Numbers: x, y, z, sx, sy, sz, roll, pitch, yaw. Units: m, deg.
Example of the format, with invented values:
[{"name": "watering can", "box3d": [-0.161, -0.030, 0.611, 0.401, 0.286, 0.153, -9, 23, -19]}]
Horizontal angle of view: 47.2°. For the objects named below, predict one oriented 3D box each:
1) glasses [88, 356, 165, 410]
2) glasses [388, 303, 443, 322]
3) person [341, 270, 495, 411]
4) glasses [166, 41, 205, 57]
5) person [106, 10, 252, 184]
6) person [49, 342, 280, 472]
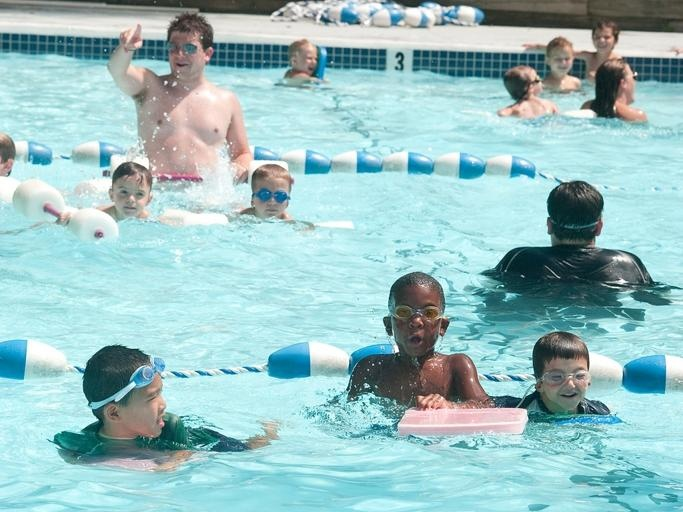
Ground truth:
[{"name": "glasses", "box3d": [-0.884, 0.556, 3.214, 0.291, 0.076, 0.211, -23, 7, 11]}, {"name": "glasses", "box3d": [0.342, 0.258, 3.576, 0.229, 0.072, 0.064, 2, 7, 4]}, {"name": "person", "box3d": [0.351, 0.420, 3.823, 1.015, 0.701, 0.578, -1, -11, 4]}, {"name": "glasses", "box3d": [-1.283, -1.670, 6.289, 0.256, 0.113, 0.079, 3, 8, 11]}, {"name": "person", "box3d": [-1.267, -1.274, 6.288, 1.117, 1.326, 0.502, 0, 8, -11]}, {"name": "person", "box3d": [-0.705, 0.624, 3.264, 0.859, 0.351, 0.447, 1, 1, 0]}]
